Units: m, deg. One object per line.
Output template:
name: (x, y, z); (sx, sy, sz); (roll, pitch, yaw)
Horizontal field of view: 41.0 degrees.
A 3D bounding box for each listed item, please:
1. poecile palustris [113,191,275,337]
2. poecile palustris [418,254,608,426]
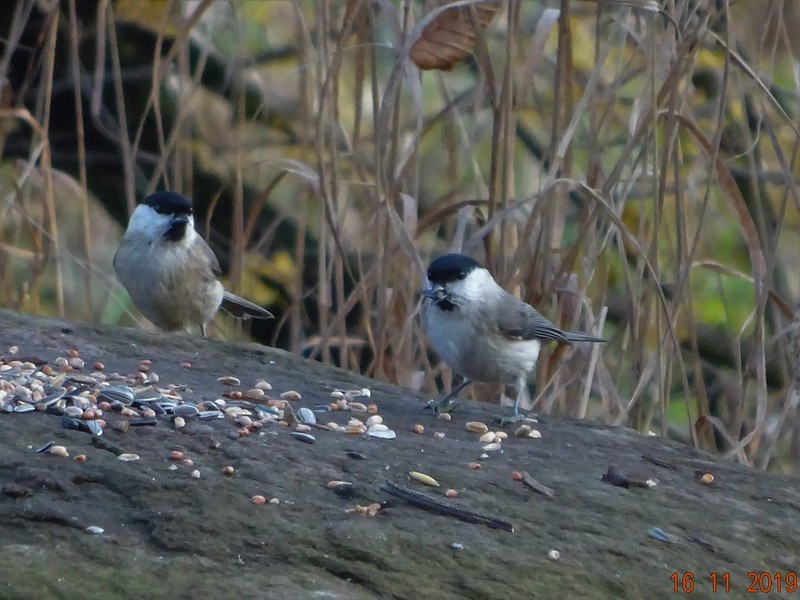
poecile palustris: (-1.194, -0.147, 5.965); (0.557, 0.807, 1.015); (-5, -5, 15)
poecile palustris: (0.582, 0.180, 5.457); (1.303, 0.844, 0.536); (-3, 5, -43)
